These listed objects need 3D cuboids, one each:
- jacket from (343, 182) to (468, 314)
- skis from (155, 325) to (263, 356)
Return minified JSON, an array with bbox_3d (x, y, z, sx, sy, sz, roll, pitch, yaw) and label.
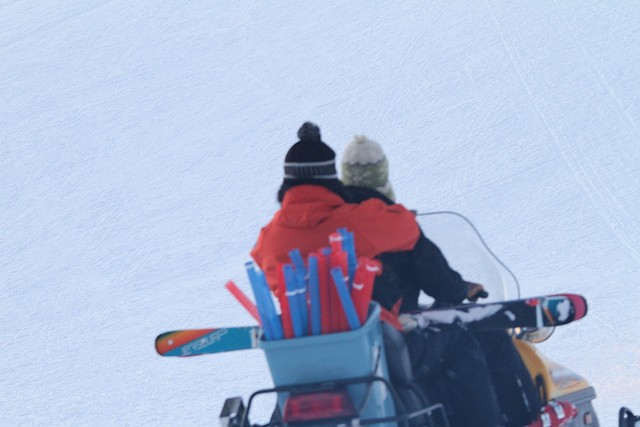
[{"bbox_3d":[0.314,0.182,6.352,0.387,0.747,0.954,5,-5,-33],"label":"jacket"},{"bbox_3d":[-0.486,0.575,6.069,0.043,0.114,0.633,-6,-3,45],"label":"skis"}]
